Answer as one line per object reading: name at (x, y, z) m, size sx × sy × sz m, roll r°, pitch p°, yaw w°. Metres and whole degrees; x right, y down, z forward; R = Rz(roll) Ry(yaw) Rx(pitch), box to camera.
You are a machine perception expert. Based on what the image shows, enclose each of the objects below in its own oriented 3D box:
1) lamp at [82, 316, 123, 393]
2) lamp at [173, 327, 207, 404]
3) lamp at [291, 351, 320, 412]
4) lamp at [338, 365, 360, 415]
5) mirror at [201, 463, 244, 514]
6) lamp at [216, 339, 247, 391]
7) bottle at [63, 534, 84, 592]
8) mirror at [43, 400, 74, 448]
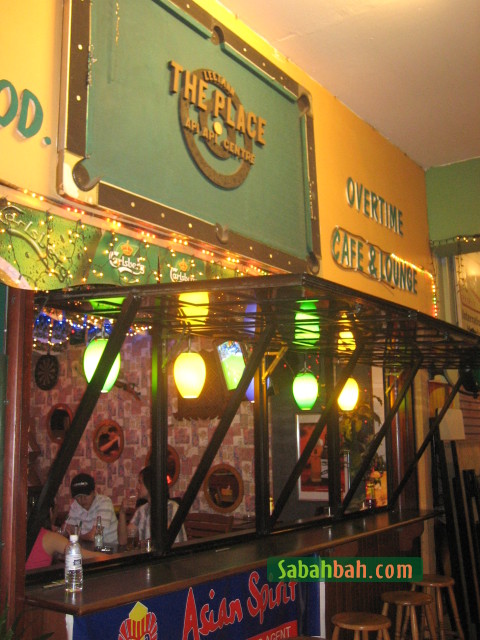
lamp at (-0.740, 0.165, 3.085) m, size 0.163 × 0.476 × 0.185 m, roll -6°, pitch -20°, yaw 8°
lamp at (-0.305, 0.270, 3.458) m, size 0.168 × 0.405 × 0.163 m, roll 13°, pitch -19°, yaw -39°
lamp at (0.544, 0.559, 4.853) m, size 0.229 × 0.369 × 0.257 m, roll -3°, pitch -8°, yaw 14°
lamp at (0.993, 0.642, 5.322) m, size 0.183 × 0.384 × 0.749 m, roll -1°, pitch -17°, yaw 10°
mirror at (-0.154, 1.365, 4.710) m, size 0.154 × 0.384 × 0.529 m, roll 12°, pitch -19°, yaw -33°
lamp at (-0.079, 0.317, 4.046) m, size 0.201 × 0.320 × 0.192 m, roll -1°, pitch -16°, yaw 11°
bottle at (-0.672, 0.984, 2.349) m, size 0.077 × 0.189 × 0.181 m, roll 7°, pitch -17°, yaw -17°
mirror at (-1.768, 1.005, 5.686) m, size 0.272 × 0.428 × 0.303 m, roll 14°, pitch -20°, yaw -36°
